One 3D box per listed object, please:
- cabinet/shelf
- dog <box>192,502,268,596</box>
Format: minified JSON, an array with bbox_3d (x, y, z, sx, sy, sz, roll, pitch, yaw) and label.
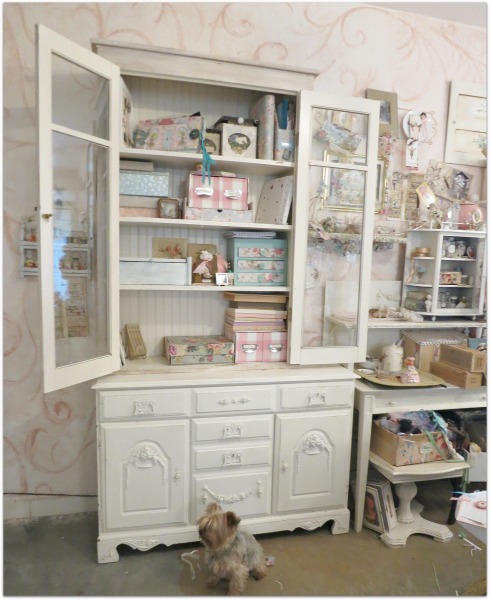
[{"bbox_3d":[0.036,0.020,2.588,1.801,2.276,0.878,0,15,-10],"label":"cabinet/shelf"},{"bbox_3d":[-0.056,1.030,2.293,0.279,0.378,0.321,9,15,25],"label":"dog"}]
